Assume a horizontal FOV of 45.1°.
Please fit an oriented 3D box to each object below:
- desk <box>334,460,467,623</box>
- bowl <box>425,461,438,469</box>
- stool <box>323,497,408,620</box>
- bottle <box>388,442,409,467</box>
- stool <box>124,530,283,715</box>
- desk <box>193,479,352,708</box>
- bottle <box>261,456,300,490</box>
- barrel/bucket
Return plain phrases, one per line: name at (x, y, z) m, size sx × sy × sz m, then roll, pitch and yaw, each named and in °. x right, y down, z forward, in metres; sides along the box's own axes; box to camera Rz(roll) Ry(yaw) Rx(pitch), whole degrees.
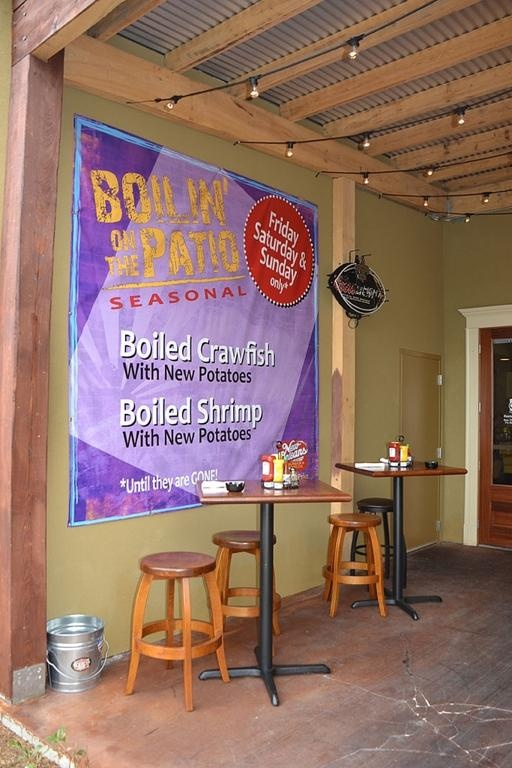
desk at (0.926, 0.955, 4.144) m, size 0.858 × 0.961 × 0.856 m, roll -24°, pitch -44°, yaw 34°
bowl at (1.156, 0.536, 4.073) m, size 0.064 × 0.034 × 0.058 m, roll 1°, pitch -4°, yaw -17°
stool at (0.755, 1.117, 3.977) m, size 0.576 × 0.846 × 0.572 m, roll -3°, pitch -10°, yaw 22°
bottle at (0.957, 0.486, 4.212) m, size 0.129 × 0.187 × 0.156 m, roll 0°, pitch 1°, yaw 6°
stool at (-0.266, 1.123, 2.877) m, size 0.260 × 0.474 × 0.723 m, roll -1°, pitch -4°, yaw 19°
desk at (0.074, 0.905, 2.943) m, size 0.807 × 1.172 × 0.818 m, roll 1°, pitch 0°, yaw -3°
bottle at (0.116, 0.421, 3.015) m, size 0.151 × 0.268 × 0.149 m, roll 0°, pitch 0°, yaw 0°
barrel/bucket at (-0.782, 1.179, 2.702) m, size 0.278 × 0.213 × 0.259 m, roll 2°, pitch -9°, yaw 0°
